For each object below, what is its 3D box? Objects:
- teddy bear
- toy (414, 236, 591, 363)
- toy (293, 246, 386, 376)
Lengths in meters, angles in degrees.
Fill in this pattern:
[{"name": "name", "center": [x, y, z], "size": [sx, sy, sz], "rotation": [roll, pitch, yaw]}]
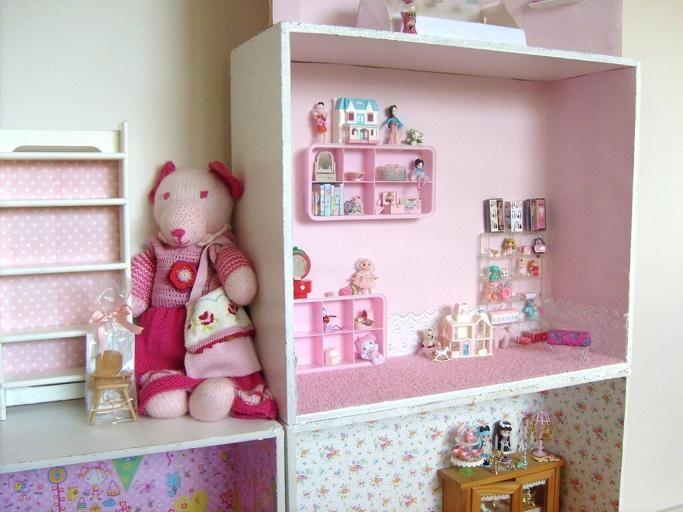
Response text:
[{"name": "teddy bear", "center": [-0.703, 0.133, 2.761], "size": [0.838, 1.168, 0.654], "rotation": [4, 9, 29]}, {"name": "toy", "center": [0.898, 0.245, 3.287], "size": [0.612, 0.595, 0.190], "rotation": [-2, 4, -21]}, {"name": "toy", "center": [-0.032, 0.300, 3.006], "size": [0.575, 0.579, 0.167], "rotation": [-2, 3, -26]}]
